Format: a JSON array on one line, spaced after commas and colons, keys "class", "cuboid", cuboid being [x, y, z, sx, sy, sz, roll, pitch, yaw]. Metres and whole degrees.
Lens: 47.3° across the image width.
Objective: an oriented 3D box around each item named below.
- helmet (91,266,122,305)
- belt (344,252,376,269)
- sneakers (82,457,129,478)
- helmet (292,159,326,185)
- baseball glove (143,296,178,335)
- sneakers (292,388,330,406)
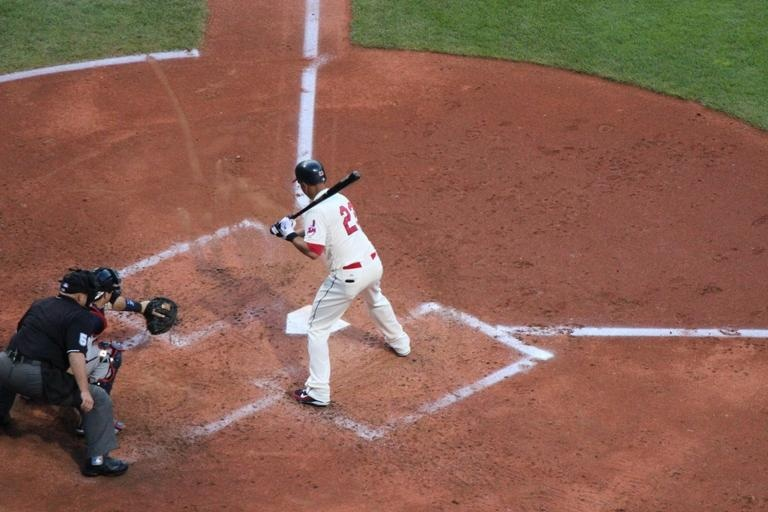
[{"class": "helmet", "cuboid": [-3.484, 0.376, 10.924, 0.399, 0.312, 0.296, -10, 13, -30]}, {"class": "belt", "cuboid": [-0.321, 0.089, 11.520, 0.313, 0.065, 0.231, -22, -1, 13]}, {"class": "sneakers", "cuboid": [-3.402, 2.584, 10.706, 0.527, 0.183, 0.231, 0, 25, -8]}, {"class": "helmet", "cuboid": [-0.967, -1.102, 11.513, 0.301, 0.288, 0.388, -21, 53, -40]}, {"class": "baseball glove", "cuboid": [-2.987, 0.758, 11.606, 0.226, 0.479, 0.545, -34, 42, 40]}, {"class": "sneakers", "cuboid": [-1.019, 1.904, 11.816, 0.545, 0.196, 0.179, 17, 16, -1]}]
